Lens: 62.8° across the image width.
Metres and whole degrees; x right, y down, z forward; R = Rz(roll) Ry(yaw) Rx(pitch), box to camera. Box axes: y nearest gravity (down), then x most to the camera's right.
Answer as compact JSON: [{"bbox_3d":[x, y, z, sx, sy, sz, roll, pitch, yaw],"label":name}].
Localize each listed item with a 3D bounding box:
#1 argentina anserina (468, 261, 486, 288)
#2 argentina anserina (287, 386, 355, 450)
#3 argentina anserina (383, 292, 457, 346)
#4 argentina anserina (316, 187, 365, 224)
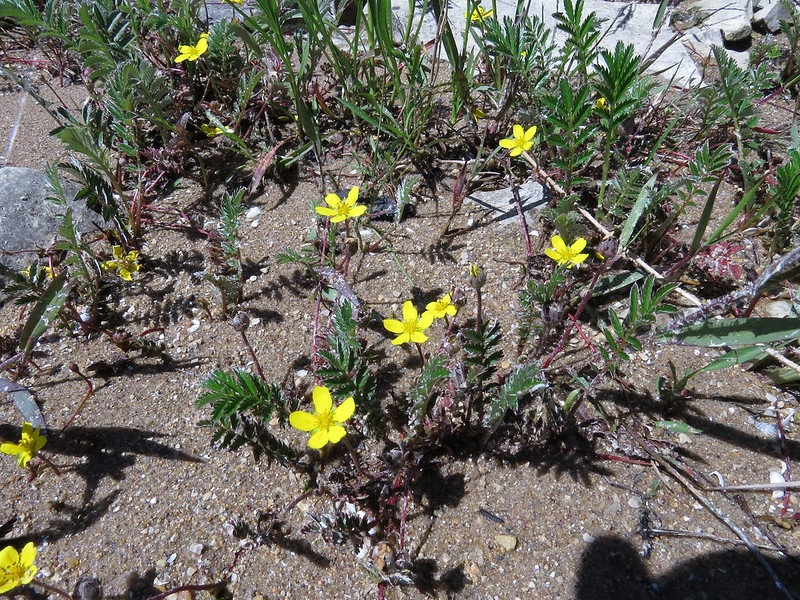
[{"bbox_3d":[0.343,-0.101,2.919,0.060,0.169,0.119,4,67,4],"label":"argentina anserina"},{"bbox_3d":[-0.323,0.516,2.783,0.260,0.094,0.270,-41,70,-12],"label":"argentina anserina"},{"bbox_3d":[0.085,0.091,3.019,0.253,0.104,0.280,-12,47,20],"label":"argentina anserina"},{"bbox_3d":[-0.298,-0.463,3.376,0.240,0.237,0.210,-6,67,0],"label":"argentina anserina"}]
